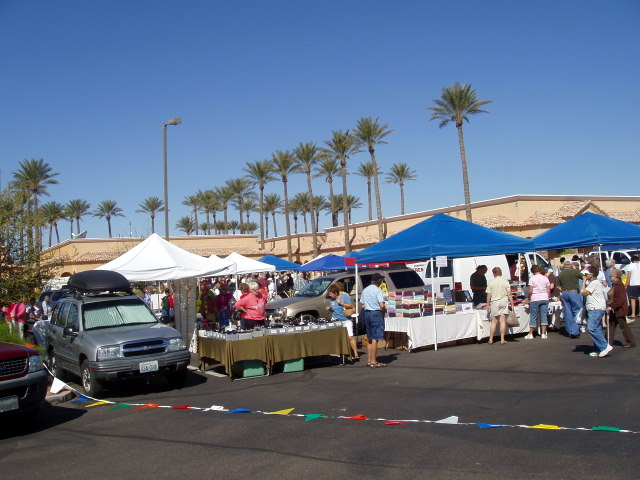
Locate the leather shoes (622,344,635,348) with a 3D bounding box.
[{"bbox_3d":[7.086,2.445,12.953,0.246,0.077,0.092,3,-4,13],"label":"leather shoes"}]

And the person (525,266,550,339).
[{"bbox_3d":[5.905,1.699,15.424,0.647,1.982,0.863,-4,-1,27],"label":"person"}]

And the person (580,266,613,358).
[{"bbox_3d":[6.182,1.582,12.659,0.545,2.037,1.379,-4,-1,26],"label":"person"}]

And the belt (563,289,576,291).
[{"bbox_3d":[6.364,1.303,14.369,0.321,0.068,0.077,-4,-1,13],"label":"belt"}]

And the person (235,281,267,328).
[{"bbox_3d":[-1.683,1.566,13.646,0.681,0.834,1.221,-3,-1,-8],"label":"person"}]

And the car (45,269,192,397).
[{"bbox_3d":[-4.493,1.920,12.236,1.974,2.506,3.493,-2,-2,-38],"label":"car"}]

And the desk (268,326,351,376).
[{"bbox_3d":[-0.206,2.261,13.711,1.979,0.754,2.000,-9,12,3],"label":"desk"}]

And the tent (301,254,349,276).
[{"bbox_3d":[0.275,1.370,29.682,1.977,0.656,1.877,-4,-3,18],"label":"tent"}]

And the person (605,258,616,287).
[{"bbox_3d":[8.118,0.943,15.814,0.240,0.795,0.787,2,-1,15],"label":"person"}]

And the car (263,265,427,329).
[{"bbox_3d":[0.748,1.616,17.649,4.120,1.699,2.000,0,-5,-20],"label":"car"}]

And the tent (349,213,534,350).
[{"bbox_3d":[3.170,1.133,16.342,4.137,2.989,3.854,0,-1,-37],"label":"tent"}]

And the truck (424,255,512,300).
[{"bbox_3d":[4.982,1.439,21.180,1.651,1.598,2.743,2,1,-44],"label":"truck"}]

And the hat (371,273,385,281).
[{"bbox_3d":[1.328,0.885,12.914,0.167,0.119,0.239,9,18,44],"label":"hat"}]

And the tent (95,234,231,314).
[{"bbox_3d":[-4.175,0.642,15.316,2.388,0.902,2.475,-4,4,-43],"label":"tent"}]

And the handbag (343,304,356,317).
[{"bbox_3d":[0.746,1.720,13.660,0.327,0.321,0.237,-2,2,14],"label":"handbag"}]

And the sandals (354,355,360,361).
[{"bbox_3d":[0.892,2.866,13.616,0.148,0.112,0.144,0,-5,-13],"label":"sandals"}]

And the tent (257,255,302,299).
[{"bbox_3d":[-2.480,2.004,32.556,2.247,1.784,2.387,5,12,37],"label":"tent"}]

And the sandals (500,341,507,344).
[{"bbox_3d":[4.824,2.709,14.836,0.056,0.068,0.172,-2,-5,-18],"label":"sandals"}]

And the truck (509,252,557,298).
[{"bbox_3d":[7.859,1.406,21.082,2.491,1.388,1.630,-5,4,-41],"label":"truck"}]

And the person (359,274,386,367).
[{"bbox_3d":[1.243,1.834,12.846,0.533,1.768,0.781,-3,-1,5],"label":"person"}]

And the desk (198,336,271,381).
[{"bbox_3d":[-2.018,2.572,12.848,1.256,0.707,1.599,2,-3,-45],"label":"desk"}]

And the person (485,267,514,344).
[{"bbox_3d":[4.744,1.736,14.923,0.630,1.911,0.924,-4,-1,16],"label":"person"}]
